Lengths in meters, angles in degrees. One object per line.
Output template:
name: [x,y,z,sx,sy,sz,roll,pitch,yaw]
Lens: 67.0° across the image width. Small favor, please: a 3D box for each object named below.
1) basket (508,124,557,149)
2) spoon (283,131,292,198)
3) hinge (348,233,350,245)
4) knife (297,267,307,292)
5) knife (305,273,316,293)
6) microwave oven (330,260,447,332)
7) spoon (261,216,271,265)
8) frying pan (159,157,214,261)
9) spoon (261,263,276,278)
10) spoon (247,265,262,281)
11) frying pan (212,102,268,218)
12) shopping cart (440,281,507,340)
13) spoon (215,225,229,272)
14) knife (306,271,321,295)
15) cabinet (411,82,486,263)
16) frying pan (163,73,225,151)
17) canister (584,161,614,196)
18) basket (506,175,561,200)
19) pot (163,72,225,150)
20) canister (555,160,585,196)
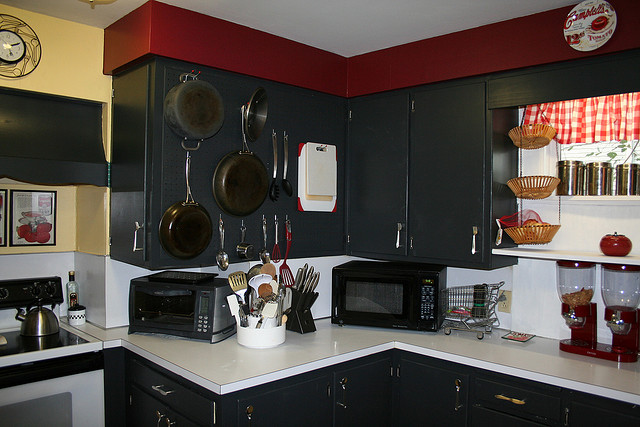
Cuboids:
basket: [1.380,-0.499,3.137,0.236,0.152,0.200,-2,9,-21]
spoon: [-0.228,-0.346,3.417,0.084,0.466,0.059,-7,11,-44]
hinge: [0.225,0.194,3.739,0.013,0.068,0.007,4,8,25]
knife: [-0.129,0.457,3.403,0.035,0.173,0.042,14,-6,-7]
knife: [-0.063,0.481,3.395,0.027,0.174,0.019,22,-7,0]
microwave oven: [0.531,0.533,3.506,0.715,0.482,0.590,4,5,40]
spoon: [-0.370,0.179,3.321,0.064,0.314,0.086,0,8,-6]
frying pan: [-0.830,-0.040,3.059,0.100,0.693,0.378,6,7,39]
spoon: [-0.339,0.376,3.197,0.075,0.077,0.017,7,6,-20]
spoon: [-0.442,0.405,3.299,0.077,0.050,0.099,28,-35,-31]
frying pan: [-0.503,-0.335,3.165,0.379,0.701,0.116,-3,2,-44]
shopping cart: [1.051,0.652,3.369,0.471,0.456,0.296,2,-3,28]
spoon: [-0.629,0.217,3.145,0.094,0.283,0.077,-4,9,-33]
knife: [-0.036,0.490,3.413,0.052,0.208,0.042,13,-10,44]
cabinet: [0.889,-0.271,3.296,0.540,1.051,0.363,-2,8,32]
frying pan: [-0.782,-0.611,3.034,0.384,0.430,0.173,-2,8,-19]
canister: [1.846,-0.223,3.206,0.184,0.208,0.177,2,0,-30]
basket: [1.351,-0.163,3.061,0.230,0.159,0.209,-2,9,-21]
pot: [-0.769,-0.613,3.019,0.355,0.459,0.284,8,10,33]
canister: [1.691,-0.247,3.312,0.218,0.246,0.208,-5,10,-32]
